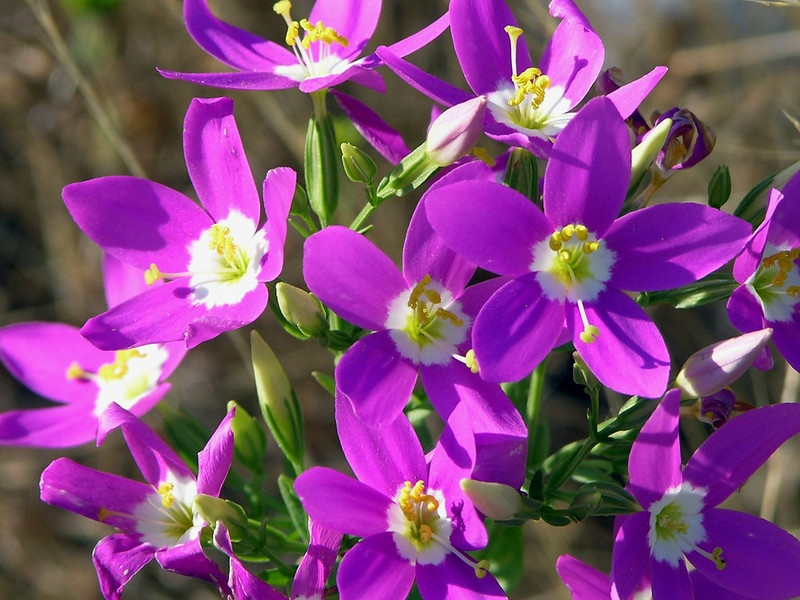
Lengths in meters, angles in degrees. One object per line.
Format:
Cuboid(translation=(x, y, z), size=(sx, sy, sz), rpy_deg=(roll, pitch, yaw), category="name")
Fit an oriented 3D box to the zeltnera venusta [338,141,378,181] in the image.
Cuboid(translation=(-0.186, -0.574, 4.239), size=(0.106, 0.232, 0.048), rpy_deg=(-30, 55, 11), category="zeltnera venusta")
